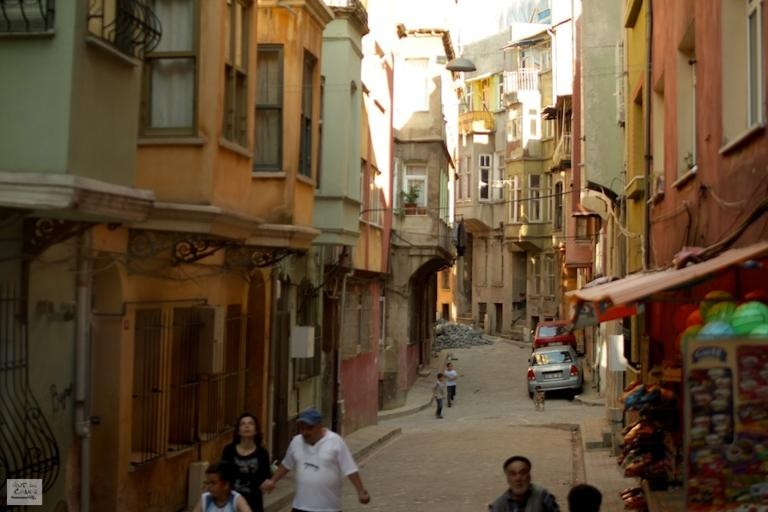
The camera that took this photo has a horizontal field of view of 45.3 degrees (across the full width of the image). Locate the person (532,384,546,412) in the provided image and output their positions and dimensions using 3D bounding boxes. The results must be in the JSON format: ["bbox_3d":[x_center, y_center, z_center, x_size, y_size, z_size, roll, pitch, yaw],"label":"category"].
[{"bbox_3d":[5.412,5.001,31.842,0.316,0.837,1.074,-3,-8,6],"label":"person"}]

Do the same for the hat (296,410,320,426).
[{"bbox_3d":[-0.878,2.023,11.332,0.153,0.125,0.239,-1,-11,25],"label":"hat"}]

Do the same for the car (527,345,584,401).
[{"bbox_3d":[6.532,4.523,35.123,2.090,2.096,1.341,-1,-7,-11],"label":"car"}]

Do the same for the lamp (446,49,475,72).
[{"bbox_3d":[2.913,-7.588,34.843,1.096,0.713,1.194,1,-5,1],"label":"lamp"}]
